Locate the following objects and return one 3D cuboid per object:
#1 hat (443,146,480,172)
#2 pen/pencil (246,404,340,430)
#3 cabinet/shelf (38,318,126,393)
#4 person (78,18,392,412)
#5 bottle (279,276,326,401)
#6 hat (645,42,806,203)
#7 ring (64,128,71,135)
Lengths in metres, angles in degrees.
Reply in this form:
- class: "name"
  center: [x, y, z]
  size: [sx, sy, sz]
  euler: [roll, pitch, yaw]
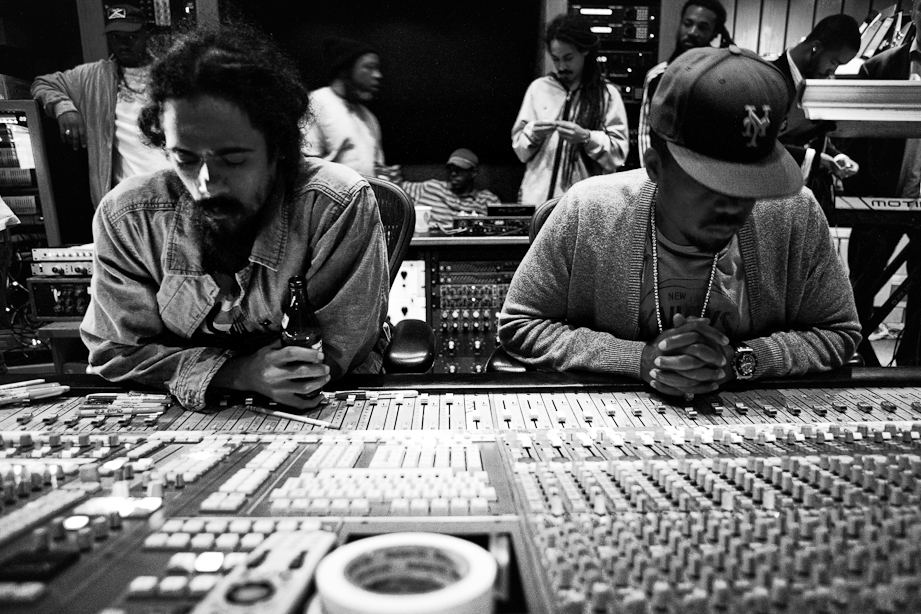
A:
- class: "hat"
  center: [0.046, -1.443, 7.273]
  size: [0.250, 0.172, 0.345]
  euler: [10, -3, 34]
- class: "pen/pencil"
  center: [-0.577, 0.382, 2.521]
  size: [0.306, 0.023, 0.022]
  euler: [9, -1, 15]
- class: "cabinet/shelf"
  center: [-1.961, 0.231, 3.777]
  size: [0.423, 0.384, 0.274]
  euler: [2, 15, -9]
- class: "person"
  center: [-0.920, -0.379, 2.860]
  size: [1.068, 1.408, 0.861]
  euler: [6, 15, 17]
- class: "bottle"
  center: [-0.613, 0.013, 2.812]
  size: [0.151, 0.315, 0.337]
  euler: [-2, 14, -11]
- class: "hat"
  center: [0.970, -0.673, 2.676]
  size: [0.559, 0.540, 0.306]
  euler: [4, 15, 12]
- class: "ring"
  center: [-3.291, -1.473, 6.148]
  size: [0.050, 0.048, 0.016]
  euler: [-21, 5, -2]
